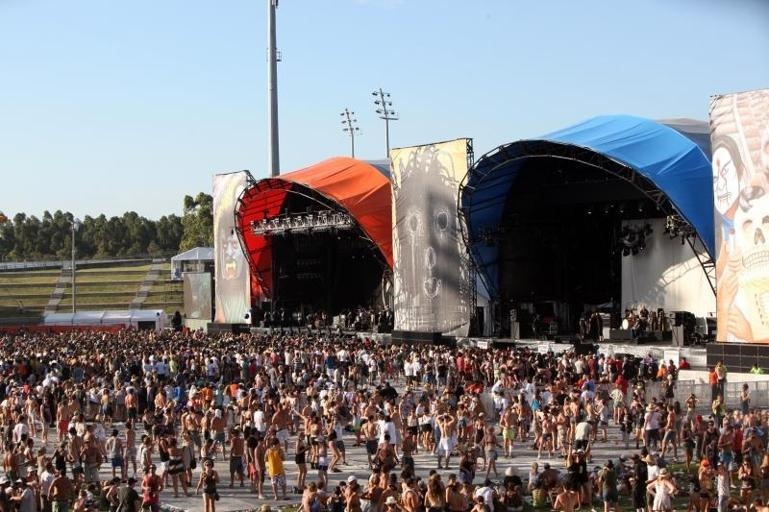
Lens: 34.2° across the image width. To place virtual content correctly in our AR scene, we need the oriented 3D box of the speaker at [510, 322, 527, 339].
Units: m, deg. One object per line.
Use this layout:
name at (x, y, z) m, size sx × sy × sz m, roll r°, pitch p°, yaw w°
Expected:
speaker at (7.922, 4.366, 73.912) m, size 1.207 × 1.208 × 0.823 m, roll -1°, pitch 1°, yaw -34°

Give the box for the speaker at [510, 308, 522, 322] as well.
speaker at (7.849, 3.606, 74.357) m, size 0.537 × 1.004 × 1.003 m, roll 6°, pitch -11°, yaw -23°
